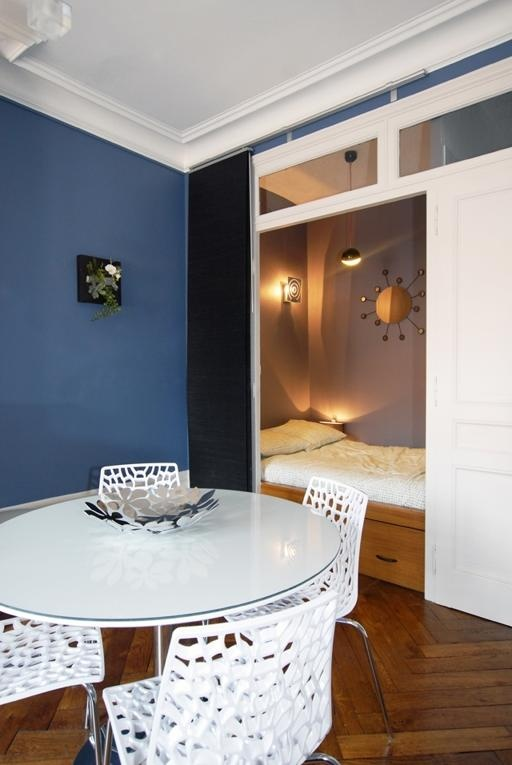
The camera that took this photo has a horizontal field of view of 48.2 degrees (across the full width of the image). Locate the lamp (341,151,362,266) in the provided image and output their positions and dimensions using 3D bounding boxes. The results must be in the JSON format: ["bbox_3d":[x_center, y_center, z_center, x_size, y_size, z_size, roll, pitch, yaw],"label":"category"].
[{"bbox_3d":[0.697,-1.279,4.238,0.144,0.733,0.144,8,18,35],"label":"lamp"}]
